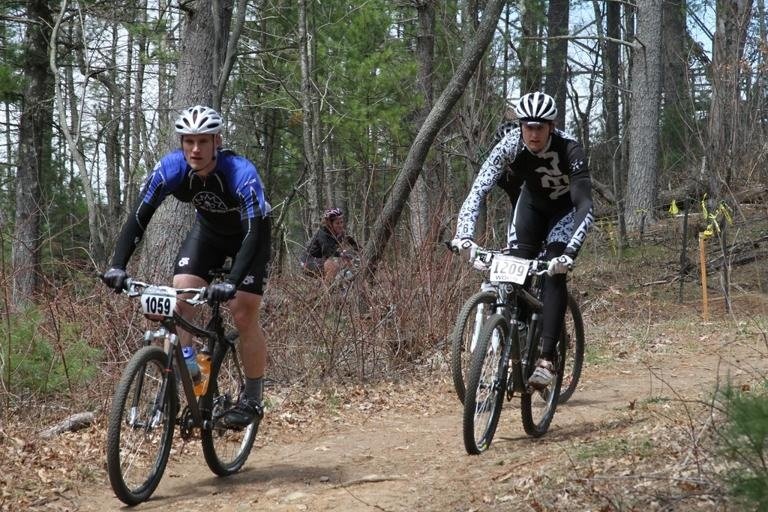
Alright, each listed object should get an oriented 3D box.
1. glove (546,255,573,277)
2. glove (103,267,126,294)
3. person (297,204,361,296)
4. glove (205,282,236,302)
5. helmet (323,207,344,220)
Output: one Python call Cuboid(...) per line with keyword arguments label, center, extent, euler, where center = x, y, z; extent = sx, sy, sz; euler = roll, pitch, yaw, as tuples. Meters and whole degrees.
Cuboid(label="glove", center=(2.010, 0.092, 9.281), extent=(0.333, 0.213, 0.159), euler=(-3, 3, -33))
Cuboid(label="glove", center=(-2.837, 0.254, 8.653), extent=(0.265, 0.255, 0.190), euler=(-2, 2, 1))
Cuboid(label="person", center=(-0.833, 0.042, 13.271), extent=(1.025, 1.550, 0.651), euler=(3, 6, 33))
Cuboid(label="glove", center=(-1.709, 0.380, 8.619), extent=(0.298, 0.210, 0.190), euler=(-2, 2, -5))
Cuboid(label="helmet", center=(-0.827, -0.676, 13.249), extent=(0.264, 0.157, 0.290), euler=(0, 2, 12))
